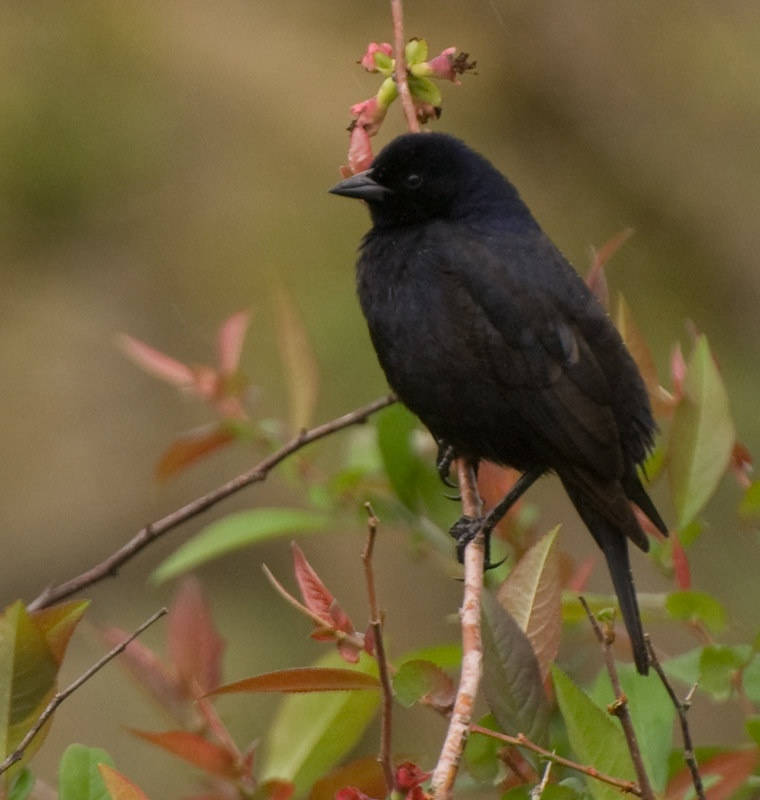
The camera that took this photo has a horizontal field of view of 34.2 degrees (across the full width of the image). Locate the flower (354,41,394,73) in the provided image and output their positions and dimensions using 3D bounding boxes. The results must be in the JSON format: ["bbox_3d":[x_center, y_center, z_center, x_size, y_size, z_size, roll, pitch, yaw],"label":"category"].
[{"bbox_3d":[-0.012,-1.018,3.666,0.083,0.098,0.048,-21,-52,-10],"label":"flower"}]

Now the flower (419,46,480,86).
[{"bbox_3d":[0.201,-0.987,3.665,0.157,0.089,0.056,-2,0,7],"label":"flower"}]
